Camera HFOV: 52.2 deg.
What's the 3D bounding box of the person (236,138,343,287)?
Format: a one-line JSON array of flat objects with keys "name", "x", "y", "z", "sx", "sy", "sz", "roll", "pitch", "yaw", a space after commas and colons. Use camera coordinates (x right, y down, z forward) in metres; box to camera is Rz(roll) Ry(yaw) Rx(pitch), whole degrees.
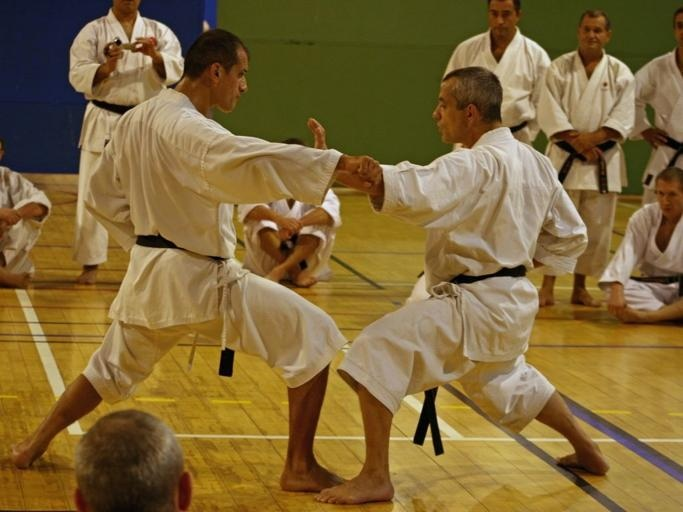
[{"name": "person", "x": -0.407, "y": -0.381, "z": 5.436, "sx": 0.709, "sy": 1.050, "sz": 0.715, "roll": 7, "pitch": 8, "yaw": 30}]
